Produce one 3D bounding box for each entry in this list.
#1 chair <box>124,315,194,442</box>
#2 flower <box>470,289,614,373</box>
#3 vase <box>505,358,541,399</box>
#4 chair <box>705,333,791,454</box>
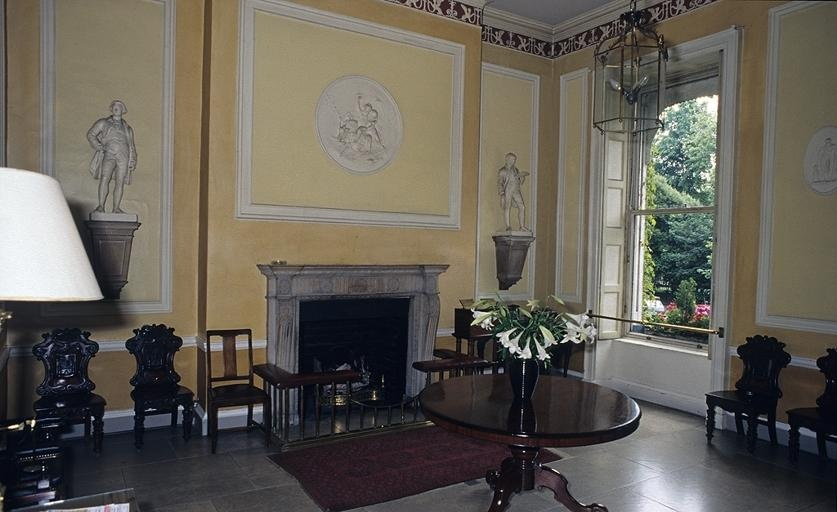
[{"bbox_3d":[-3.010,1.479,7.370,0.648,1.266,0.823,-5,16,-24],"label":"chair"},{"bbox_3d":[1.196,0.689,6.360,1.315,0.588,1.255,2,-1,12],"label":"flower"},{"bbox_3d":[1.084,1.168,6.284,0.398,0.399,0.363,-3,7,-16],"label":"vase"},{"bbox_3d":[3.940,1.596,7.528,0.855,1.221,0.723,-12,20,-42],"label":"chair"}]
